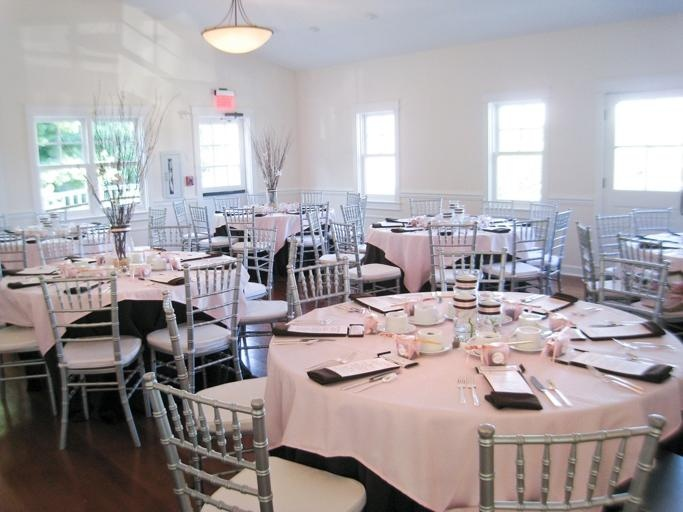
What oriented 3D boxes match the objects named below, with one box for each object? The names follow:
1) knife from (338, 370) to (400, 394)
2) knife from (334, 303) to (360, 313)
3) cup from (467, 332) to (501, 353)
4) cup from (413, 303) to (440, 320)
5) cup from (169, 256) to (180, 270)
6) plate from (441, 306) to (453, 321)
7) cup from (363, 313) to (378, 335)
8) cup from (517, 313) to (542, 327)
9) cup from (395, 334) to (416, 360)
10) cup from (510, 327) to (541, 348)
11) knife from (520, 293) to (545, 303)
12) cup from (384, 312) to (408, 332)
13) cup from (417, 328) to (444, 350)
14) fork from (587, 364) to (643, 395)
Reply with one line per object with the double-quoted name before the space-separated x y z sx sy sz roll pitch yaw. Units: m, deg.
"knife" 0.104 0.476 1.847 0.263 0.035 0.070 -6 6 -40
"knife" 0.035 0.286 2.688 0.161 0.013 0.043 0 26 47
"cup" 0.601 0.358 2.054 0.079 0.056 0.119 -2 3 -4
"cup" 0.419 0.276 2.397 0.077 0.071 0.102 -7 15 -33
"cup" -1.253 0.053 3.698 0.075 0.095 0.095 11 19 21
"plate" 0.546 0.292 2.518 0.069 0.034 0.068 -2 6 -2
"cup" 0.151 0.332 2.376 0.080 0.081 0.039 11 -7 0
"cup" 0.861 0.280 2.231 0.073 0.048 0.072 0 5 0
"cup" 0.270 0.377 2.025 0.082 0.083 0.088 -1 3 0
"cup" 0.801 0.347 2.098 0.083 0.065 0.110 -1 -2 7
"knife" 1.082 0.237 2.727 0.050 0.031 0.224 29 21 36
"cup" 0.262 0.312 2.328 0.091 0.064 0.088 -1 4 0
"cup" 0.390 0.356 2.123 0.088 0.062 0.086 -1 4 0
"fork" 1.010 0.454 1.863 0.041 0.043 0.263 -30 28 -18
